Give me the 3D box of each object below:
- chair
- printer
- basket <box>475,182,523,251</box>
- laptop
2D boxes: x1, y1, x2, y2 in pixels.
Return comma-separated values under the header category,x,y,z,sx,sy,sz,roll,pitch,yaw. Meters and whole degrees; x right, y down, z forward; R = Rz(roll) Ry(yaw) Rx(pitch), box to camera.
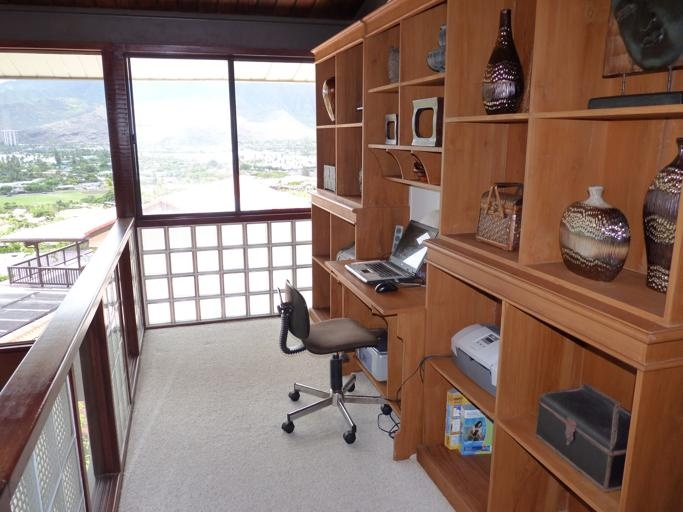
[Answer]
category,x,y,z,sx,sy,sz,roll,pitch,yaw
chair,-0.068,0.529,3.597,0.933,1.114,0.856,-6,17,-19
printer,0.718,0.540,2.649,0.273,0.185,0.289,-8,16,-29
basket,0.762,-0.182,2.420,0.138,0.299,0.304,0,13,-14
laptop,0.349,0.012,3.362,0.463,0.324,0.468,-1,12,-20
